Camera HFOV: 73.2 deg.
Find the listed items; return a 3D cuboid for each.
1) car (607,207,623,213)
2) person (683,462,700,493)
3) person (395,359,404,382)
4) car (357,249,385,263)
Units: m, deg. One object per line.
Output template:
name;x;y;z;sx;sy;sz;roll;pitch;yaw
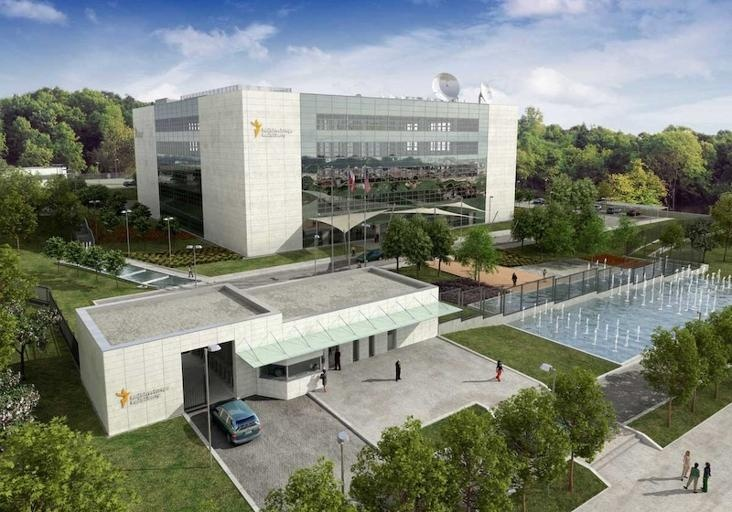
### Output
car;58.062;-10.433;115.493;2.733;1.097;2.229;4;11;25
person;21.431;14.485;32.403;0.751;1.740;1.351;7;13;35
person;2.836;9.770;42.207;0.584;1.633;1.230;0;11;2
car;0.564;0.018;74.458;2.941;1.620;5.155;8;13;39
